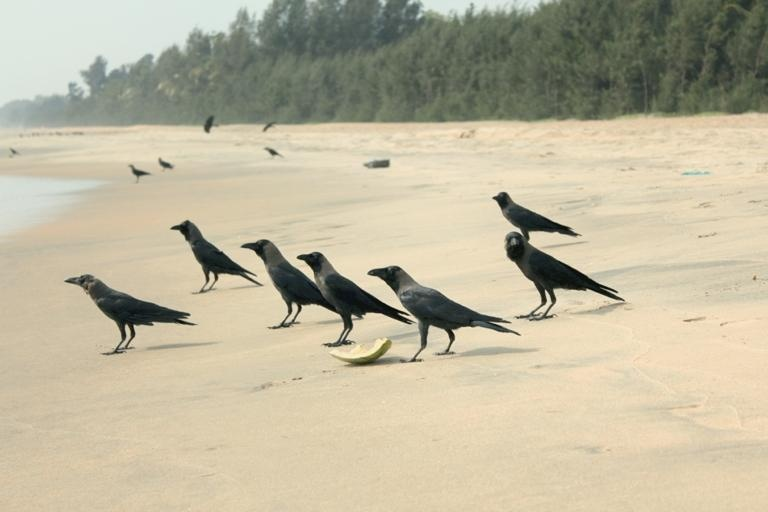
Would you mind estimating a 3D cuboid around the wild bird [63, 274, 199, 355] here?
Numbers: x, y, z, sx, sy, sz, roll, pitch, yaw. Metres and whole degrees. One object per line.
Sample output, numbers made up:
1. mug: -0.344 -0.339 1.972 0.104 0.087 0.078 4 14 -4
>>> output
1. wild bird: -4.204 0.942 18.842 2.510 1.179 0.637 -3 5 25
